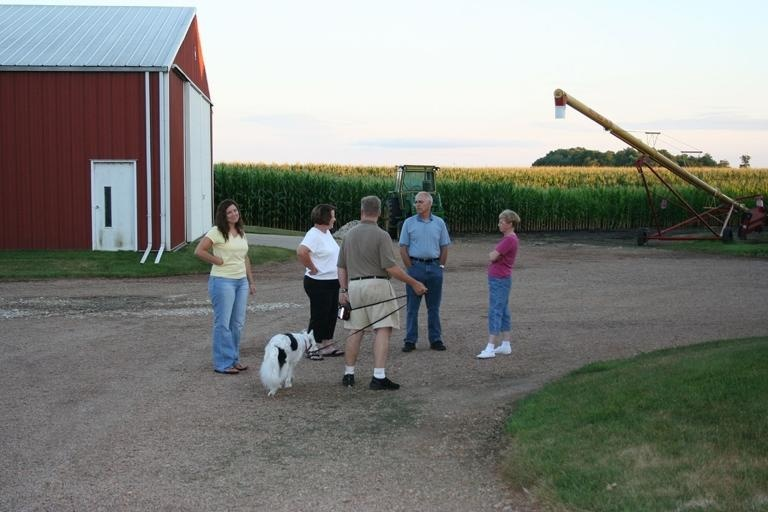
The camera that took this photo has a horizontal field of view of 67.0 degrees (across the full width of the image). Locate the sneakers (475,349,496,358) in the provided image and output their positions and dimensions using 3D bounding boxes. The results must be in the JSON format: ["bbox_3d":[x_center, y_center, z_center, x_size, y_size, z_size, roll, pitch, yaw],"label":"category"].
[{"bbox_3d":[1.501,1.459,8.573,0.275,0.117,0.104,0,7,-8],"label":"sneakers"}]

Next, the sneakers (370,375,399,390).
[{"bbox_3d":[0.003,1.635,7.416,0.403,0.188,0.152,2,6,-9],"label":"sneakers"}]

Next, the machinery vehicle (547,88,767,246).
[{"bbox_3d":[15.461,-3.934,29.861,6.689,6.550,23.951,1,7,31],"label":"machinery vehicle"}]

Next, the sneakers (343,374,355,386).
[{"bbox_3d":[-0.463,1.609,7.455,0.093,0.085,0.182,1,9,0],"label":"sneakers"}]

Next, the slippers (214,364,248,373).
[{"bbox_3d":[-2.073,1.503,7.810,0.287,0.084,0.156,-1,4,28],"label":"slippers"}]

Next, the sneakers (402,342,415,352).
[{"bbox_3d":[0.383,1.425,8.949,0.089,0.180,0.249,-7,-18,42],"label":"sneakers"}]

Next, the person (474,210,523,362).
[{"bbox_3d":[1.790,0.376,9.045,0.610,2.119,1.477,-1,6,13],"label":"person"}]

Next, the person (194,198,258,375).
[{"bbox_3d":[-2.115,0.433,7.806,0.753,2.305,0.397,-6,7,-28],"label":"person"}]

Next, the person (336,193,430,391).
[{"bbox_3d":[-0.129,0.481,7.430,1.045,2.431,0.587,-2,6,9],"label":"person"}]

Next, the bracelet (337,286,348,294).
[{"bbox_3d":[-0.535,0.469,7.613,0.091,0.068,0.099,1,-5,-24],"label":"bracelet"}]

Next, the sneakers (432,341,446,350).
[{"bbox_3d":[0.845,1.398,8.997,0.227,0.126,0.175,-3,6,1],"label":"sneakers"}]

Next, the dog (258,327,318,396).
[{"bbox_3d":[-1.286,1.356,7.547,0.318,0.712,1.179,12,1,10],"label":"dog"}]
